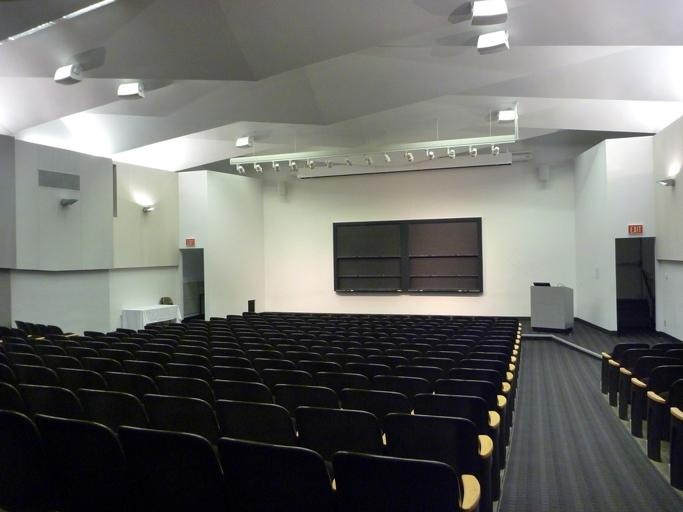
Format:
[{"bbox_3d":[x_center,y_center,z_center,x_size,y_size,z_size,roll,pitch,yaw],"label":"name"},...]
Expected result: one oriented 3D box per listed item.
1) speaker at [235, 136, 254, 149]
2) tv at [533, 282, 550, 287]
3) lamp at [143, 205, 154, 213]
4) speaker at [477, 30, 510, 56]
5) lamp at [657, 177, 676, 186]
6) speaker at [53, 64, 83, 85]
[{"bbox_3d":[-2.298,-2.661,11.648,0.300,0.226,0.235,-2,-8,4],"label":"speaker"},{"bbox_3d":[5.029,0.718,12.252,0.412,0.090,0.335,-1,-3,35],"label":"tv"},{"bbox_3d":[-5.062,-1.225,12.920,0.148,0.216,0.354,0,-3,34],"label":"lamp"},{"bbox_3d":[2.141,-2.980,6.862,0.400,0.265,0.275,0,-2,23],"label":"speaker"},{"bbox_3d":[6.691,-1.472,9.981,0.269,0.165,0.465,-1,-3,41],"label":"lamp"},{"bbox_3d":[-4.252,-2.786,7.598,0.341,0.266,0.264,-2,8,31],"label":"speaker"}]
